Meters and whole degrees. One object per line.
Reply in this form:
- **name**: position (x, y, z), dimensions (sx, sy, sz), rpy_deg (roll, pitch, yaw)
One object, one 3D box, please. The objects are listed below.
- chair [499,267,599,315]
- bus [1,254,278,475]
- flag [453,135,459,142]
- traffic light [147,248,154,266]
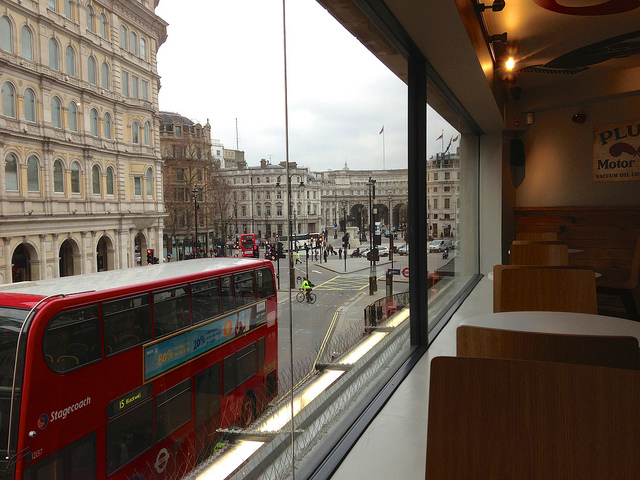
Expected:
- **chair**: position (1.666, 0.368, 3.884), dimensions (0.651, 0.332, 0.143), rpy_deg (2, 11, 16)
- **bus**: position (-1.645, 1.058, 5.392), dimensions (1.065, 1.818, 3.323), rpy_deg (0, 3, 27)
- **flag**: position (2.043, -1.546, 7.948), dimensions (0.055, 0.099, 0.453), rpy_deg (2, 13, 17)
- **traffic light**: position (-1.454, 0.138, 4.518), dimensions (0.059, 0.176, 0.152), rpy_deg (-5, 12, -19)
